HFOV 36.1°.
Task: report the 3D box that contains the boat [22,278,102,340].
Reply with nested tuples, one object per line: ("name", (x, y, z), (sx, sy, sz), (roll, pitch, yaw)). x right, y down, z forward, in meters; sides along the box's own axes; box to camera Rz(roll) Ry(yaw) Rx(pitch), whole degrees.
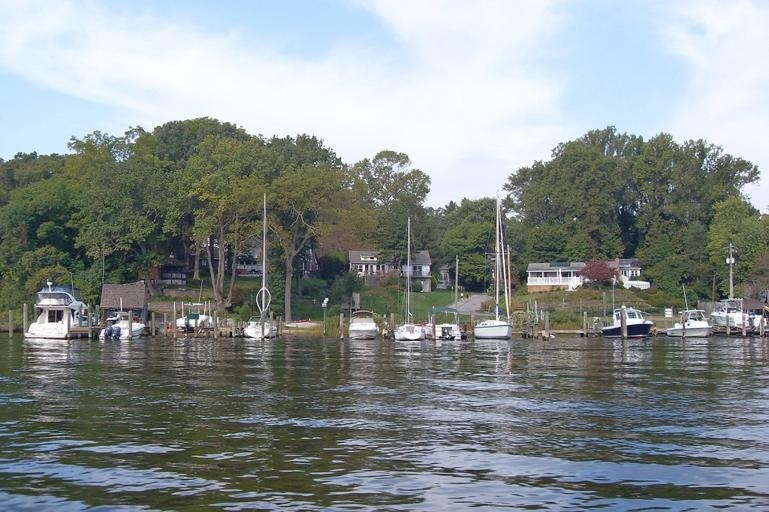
("boat", (-33.605, 6.164, 122.933), (3.853, 4.231, 11.476), (1, 1, -7))

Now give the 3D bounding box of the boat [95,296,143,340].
("boat", (-27.499, 6.915, 123.433), (4.097, 3.123, 10.924), (-1, 6, -12))

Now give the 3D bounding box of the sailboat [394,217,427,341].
("sailboat", (2.377, 4.874, 127.111), (4.566, 12.917, 2.906), (1, 2, 10))

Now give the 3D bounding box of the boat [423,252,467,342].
("boat", (6.487, 7.726, 128.331), (3.002, 8.544, 8.948), (2, -6, -3))
